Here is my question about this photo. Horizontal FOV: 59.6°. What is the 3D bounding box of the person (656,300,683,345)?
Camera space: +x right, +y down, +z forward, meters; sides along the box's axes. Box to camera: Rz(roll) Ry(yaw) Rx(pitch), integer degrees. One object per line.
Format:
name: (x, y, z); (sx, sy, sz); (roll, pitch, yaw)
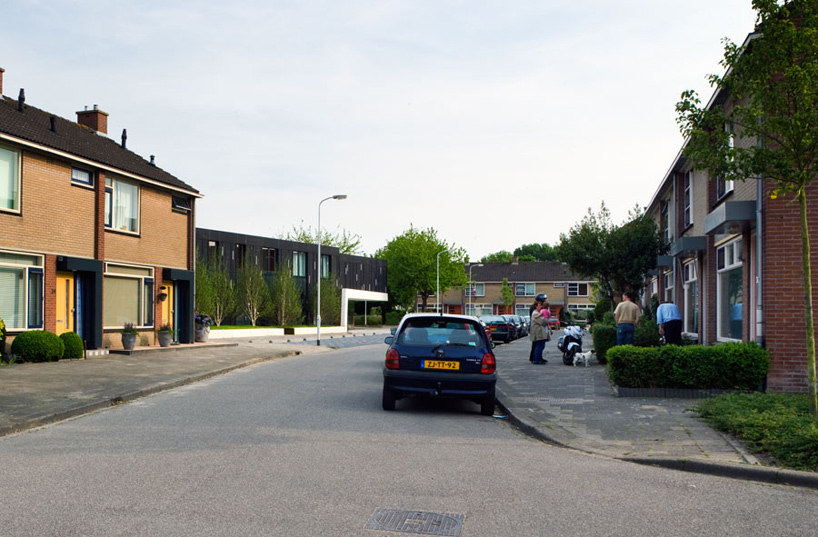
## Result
person: (6.849, 1.449, 18.842); (0.553, 1.134, 1.111); (-3, -7, 19)

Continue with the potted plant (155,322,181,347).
potted plant: (-9.402, 2.597, 28.025); (0.824, 0.888, 0.828); (1, -2, -39)

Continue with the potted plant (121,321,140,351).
potted plant: (-10.074, 2.457, 25.823); (0.499, 1.096, 1.899); (1, -8, -22)

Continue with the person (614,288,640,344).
person: (6.160, 1.380, 20.237); (0.658, 1.554, 2.264); (-3, -7, 17)

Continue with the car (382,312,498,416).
car: (0.639, 1.763, 14.422); (1.368, 1.309, 2.613); (1, -1, 1)

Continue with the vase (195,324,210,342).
vase: (-9.094, 2.916, 31.630); (0.544, 0.642, 0.623); (1, -6, -12)

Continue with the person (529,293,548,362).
person: (4.098, 1.925, 22.690); (0.613, 2.240, 0.981); (-2, -6, 10)
